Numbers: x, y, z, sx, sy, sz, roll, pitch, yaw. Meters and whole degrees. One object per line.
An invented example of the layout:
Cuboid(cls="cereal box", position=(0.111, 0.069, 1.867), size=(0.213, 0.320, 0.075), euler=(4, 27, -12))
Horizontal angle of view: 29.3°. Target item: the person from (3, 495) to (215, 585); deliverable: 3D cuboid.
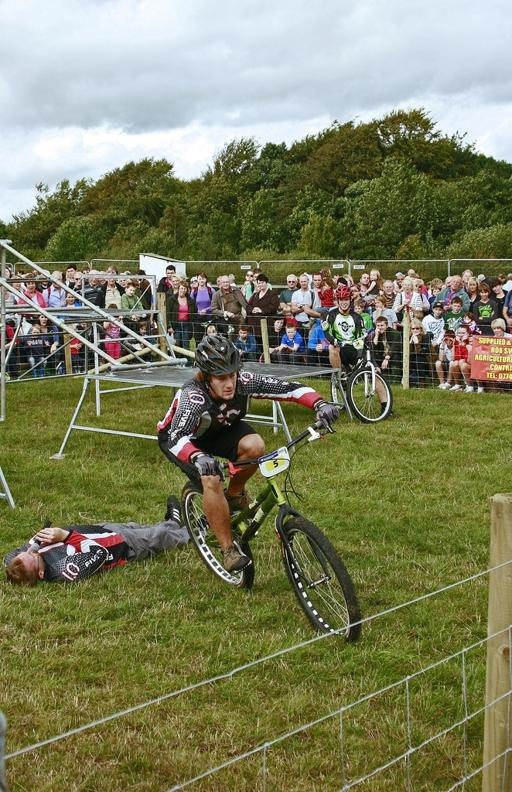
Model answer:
Cuboid(cls="person", position=(-0.960, 0.878, 6.272), size=(0.409, 0.367, 1.263), euler=(0, 5, 41))

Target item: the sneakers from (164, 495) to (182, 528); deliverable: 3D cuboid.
Cuboid(cls="sneakers", position=(-0.591, 0.818, 6.950), size=(0.093, 0.275, 0.119), euler=(-10, -5, 36))

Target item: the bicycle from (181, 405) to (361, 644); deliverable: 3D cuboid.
Cuboid(cls="bicycle", position=(0.287, 0.696, 5.522), size=(0.688, 0.848, 1.390), euler=(-26, 13, -20))

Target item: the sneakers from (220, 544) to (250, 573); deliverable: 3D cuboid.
Cuboid(cls="sneakers", position=(-0.141, 0.919, 5.588), size=(0.089, 0.099, 0.207), euler=(-46, 26, -13))

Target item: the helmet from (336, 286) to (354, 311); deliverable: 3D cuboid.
Cuboid(cls="helmet", position=(1.068, -1.171, 11.907), size=(0.200, 0.320, 0.314), euler=(1, -14, 0))

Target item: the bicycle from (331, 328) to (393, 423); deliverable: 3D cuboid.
Cuboid(cls="bicycle", position=(1.282, -0.077, 12.082), size=(0.592, 0.759, 1.189), euler=(-14, 6, -13))

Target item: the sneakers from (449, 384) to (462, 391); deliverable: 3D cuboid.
Cuboid(cls="sneakers", position=(2.806, -0.110, 13.763), size=(0.195, 0.093, 0.080), euler=(2, -5, -38))

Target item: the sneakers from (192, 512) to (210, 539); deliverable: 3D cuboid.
Cuboid(cls="sneakers", position=(-0.354, 0.831, 6.269), size=(0.052, 0.140, 0.102), euler=(-26, 30, -17))

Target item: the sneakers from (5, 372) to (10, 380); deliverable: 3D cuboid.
Cuboid(cls="sneakers", position=(-3.847, -0.299, 15.174), size=(0.070, 0.109, 0.616), euler=(-7, 7, -14))

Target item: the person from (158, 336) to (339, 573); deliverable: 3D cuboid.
Cuboid(cls="person", position=(-0.035, 0.278, 5.814), size=(1.079, 1.321, 1.033), euler=(-5, 19, -4))

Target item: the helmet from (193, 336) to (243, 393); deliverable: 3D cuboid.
Cuboid(cls="helmet", position=(-0.215, -0.202, 5.568), size=(0.250, 0.276, 0.264), euler=(-5, 7, -2))

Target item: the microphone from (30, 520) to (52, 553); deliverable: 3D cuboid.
Cuboid(cls="microphone", position=(-1.363, 0.900, 6.200), size=(0.052, 0.270, 0.047), euler=(38, 25, -1))

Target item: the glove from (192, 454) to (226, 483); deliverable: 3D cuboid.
Cuboid(cls="glove", position=(-0.253, 0.393, 5.146), size=(0.161, 0.163, 0.325), euler=(-6, 7, -4))

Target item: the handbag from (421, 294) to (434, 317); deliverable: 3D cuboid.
Cuboid(cls="handbag", position=(2.571, -1.350, 14.887), size=(0.246, 0.311, 0.110), euler=(-1, -11, -28))

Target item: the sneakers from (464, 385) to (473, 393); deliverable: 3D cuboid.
Cuboid(cls="sneakers", position=(2.967, -0.083, 13.582), size=(0.076, 0.084, 0.126), euler=(-2, -2, 6))
